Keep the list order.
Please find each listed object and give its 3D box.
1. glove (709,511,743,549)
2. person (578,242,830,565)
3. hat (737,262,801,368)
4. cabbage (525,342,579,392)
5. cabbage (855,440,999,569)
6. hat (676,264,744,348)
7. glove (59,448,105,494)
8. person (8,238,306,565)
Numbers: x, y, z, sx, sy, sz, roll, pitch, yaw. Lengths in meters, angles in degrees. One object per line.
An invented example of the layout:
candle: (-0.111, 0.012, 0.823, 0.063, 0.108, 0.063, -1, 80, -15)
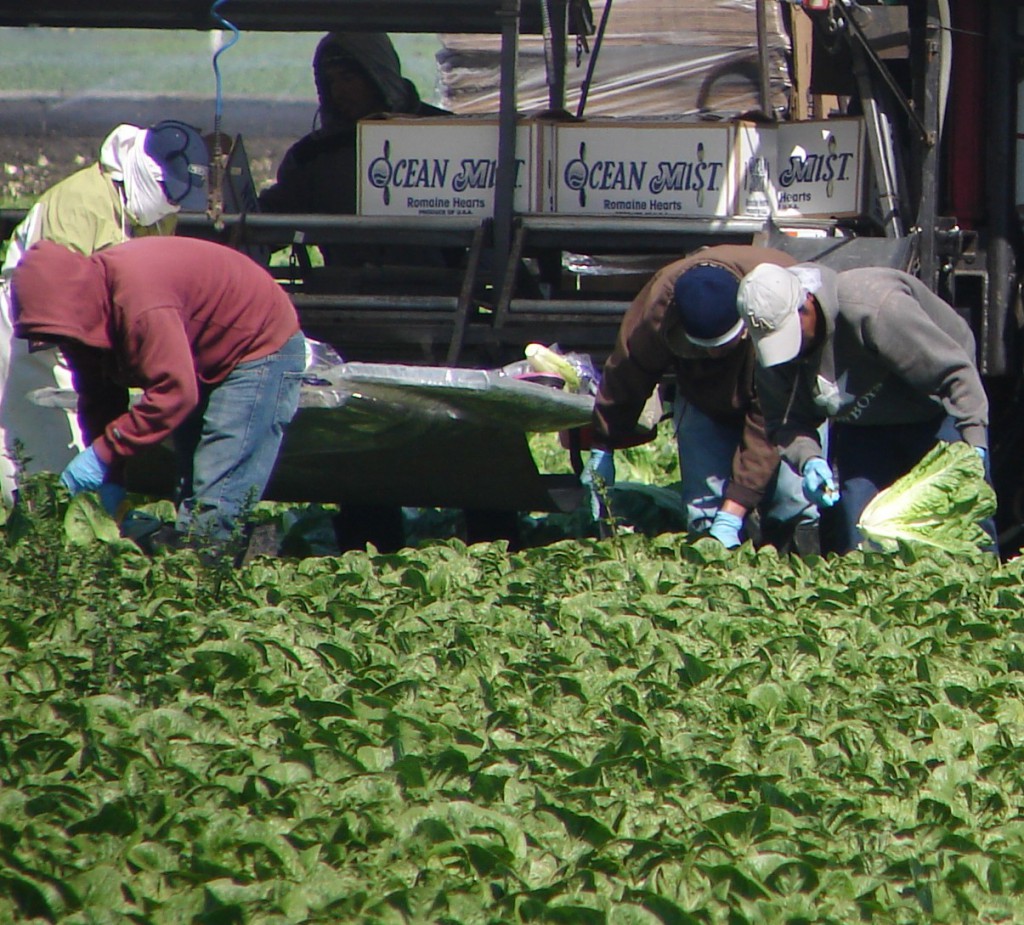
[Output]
glove: (0.899, 0.293, 10.965, 0.162, 0.160, 0.119, 0, -6, -7)
person: (0.803, -0.267, 11.031, 0.876, 1.484, 0.844, 1, 4, 9)
hat: (1.022, -0.602, 10.349, 0.240, 0.392, 0.257, -1, 14, 5)
cabbage: (0.186, -0.425, 11.436, 0.247, 0.173, 0.292, 0, 10, -13)
cabbage: (1.775, 0.149, 10.597, 0.664, 0.347, 0.516, -1, 33, 40)
hat: (0.815, -0.642, 10.626, 0.283, 0.337, 0.213, 2, 10, 0)
glove: (-1.732, 0.019, 10.440, 0.155, 0.153, 0.191, 1, 22, -15)
person: (-1.399, -0.425, 10.530, 0.927, 1.427, 0.971, 1, 23, 2)
